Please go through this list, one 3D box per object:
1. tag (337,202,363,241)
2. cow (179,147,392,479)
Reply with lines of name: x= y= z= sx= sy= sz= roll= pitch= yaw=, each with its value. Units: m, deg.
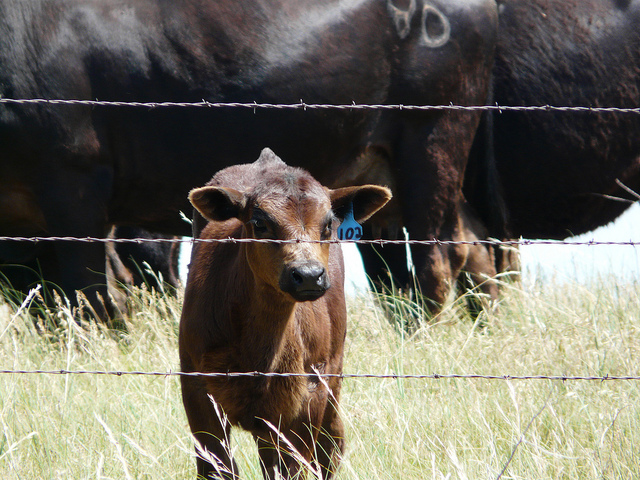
tag: x=0.212 y=-0.157 z=7.736 sx=0.214 sy=0.361 sz=0.008 roll=0 pitch=-10 yaw=-25
cow: x=-0.341 y=0.611 z=7.436 sx=1.320 sy=2.236 sz=1.341 roll=1 pitch=7 yaw=-8
